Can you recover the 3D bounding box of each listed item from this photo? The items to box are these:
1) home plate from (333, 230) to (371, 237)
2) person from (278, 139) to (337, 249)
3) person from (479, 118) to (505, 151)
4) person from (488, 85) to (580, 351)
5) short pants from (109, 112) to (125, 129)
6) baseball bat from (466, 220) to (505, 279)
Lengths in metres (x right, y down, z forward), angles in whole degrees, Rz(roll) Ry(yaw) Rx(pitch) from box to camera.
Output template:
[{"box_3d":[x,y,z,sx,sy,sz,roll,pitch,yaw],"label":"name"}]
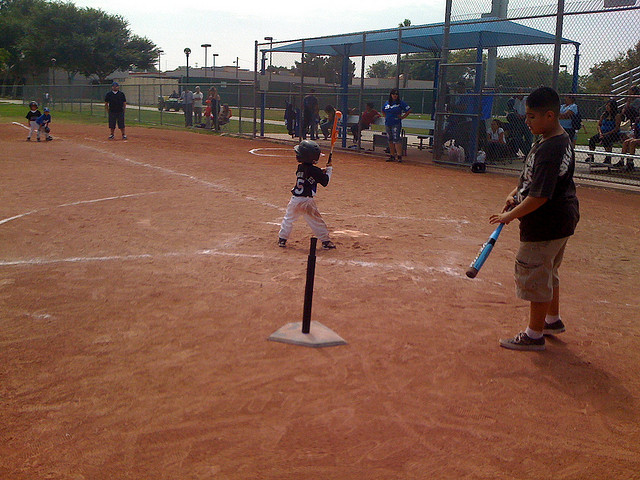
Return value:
[{"box_3d":[0.441,-0.080,7.728,0.421,0.026,0.336,12,15,38],"label":"home plate"},{"box_3d":[-0.141,-0.553,6.925,0.748,1.368,0.409,1,12,-6],"label":"person"},{"box_3d":[4.854,-2.905,15.082,0.773,0.804,0.503,-24,25,-35],"label":"person"},{"box_3d":[1.868,-0.138,4.638,0.615,2.260,0.658,8,13,24],"label":"person"},{"box_3d":[-7.001,-4.103,18.707,0.458,0.572,0.461,-4,14,-27],"label":"short pants"},{"box_3d":[1.987,0.153,6.484,0.121,0.140,0.993,5,46,49],"label":"baseball bat"}]
